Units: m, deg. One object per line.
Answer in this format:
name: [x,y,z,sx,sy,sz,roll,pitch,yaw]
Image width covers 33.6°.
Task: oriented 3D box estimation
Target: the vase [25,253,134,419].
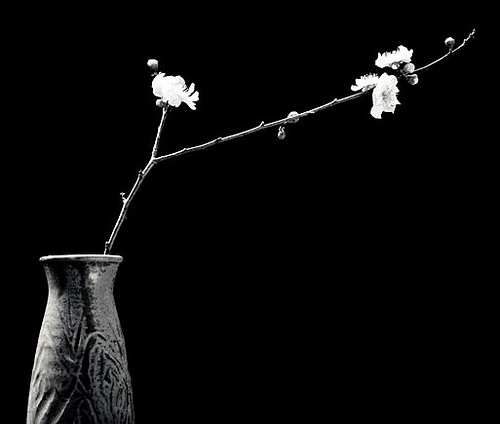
vase: [-0.390,0.305,1.963,0.249,0.196,0.382,5,-69,-11]
